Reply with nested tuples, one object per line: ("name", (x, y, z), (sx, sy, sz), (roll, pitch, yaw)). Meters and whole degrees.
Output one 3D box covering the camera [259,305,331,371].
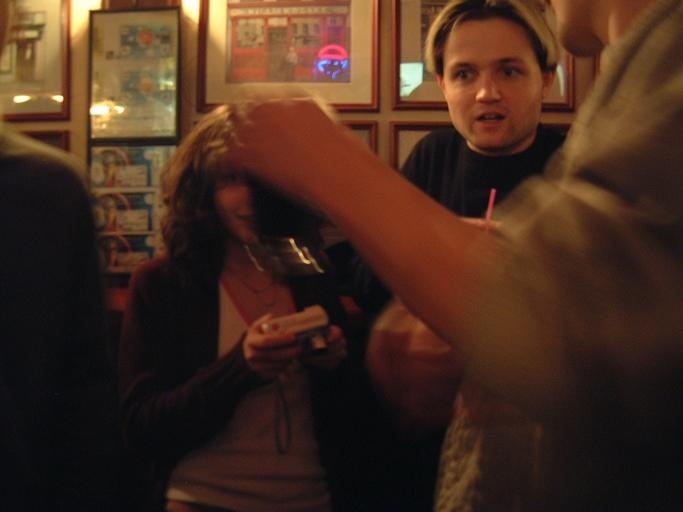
("camera", (-0.054, 0.115, 0.892), (0.067, 0.023, 0.068), (-11, 15, -11))
